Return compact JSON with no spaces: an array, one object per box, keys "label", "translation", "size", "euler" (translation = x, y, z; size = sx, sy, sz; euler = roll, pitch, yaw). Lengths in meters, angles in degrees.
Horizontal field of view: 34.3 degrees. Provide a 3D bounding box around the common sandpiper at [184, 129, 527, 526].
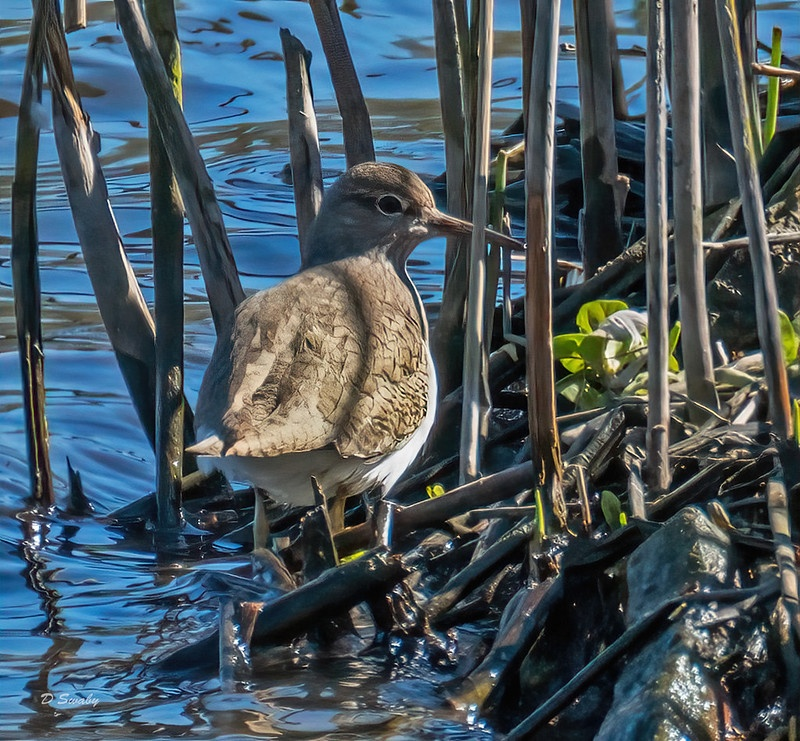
[{"label":"common sandpiper","translation":[-0.262,-0.062,4.454],"size":[0.596,1.208,1.376],"euler":[4,3,29]}]
